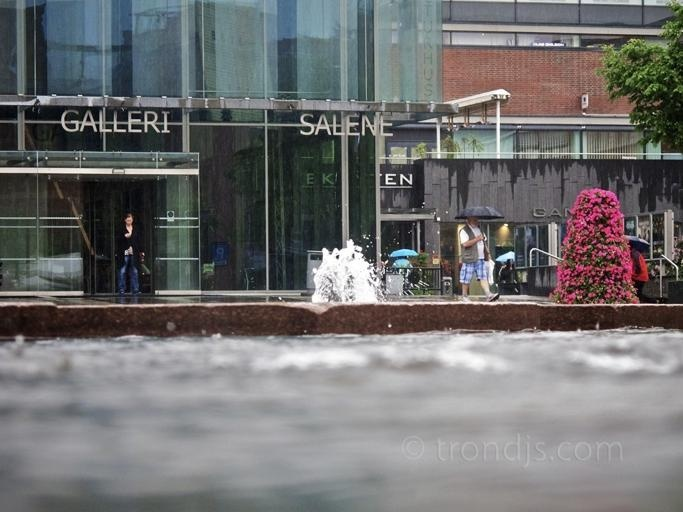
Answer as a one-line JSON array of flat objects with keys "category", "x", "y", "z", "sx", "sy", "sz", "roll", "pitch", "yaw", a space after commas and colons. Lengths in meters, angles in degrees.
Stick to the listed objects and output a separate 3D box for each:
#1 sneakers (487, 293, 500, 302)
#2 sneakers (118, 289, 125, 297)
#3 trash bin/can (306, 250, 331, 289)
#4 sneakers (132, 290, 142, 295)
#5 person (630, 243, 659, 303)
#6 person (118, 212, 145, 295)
[{"category": "sneakers", "x": 3.228, "y": 0.850, "z": 27.680, "sx": 0.144, "sy": 0.126, "sz": 0.314, "roll": 28, "pitch": -33, "yaw": -16}, {"category": "sneakers", "x": -5.403, "y": 0.876, "z": 32.413, "sx": 0.154, "sy": 0.155, "sz": 0.287, "roll": 4, "pitch": 6, "yaw": 1}, {"category": "trash bin/can", "x": -0.705, "y": 0.298, "z": 34.993, "sx": 0.815, "sy": 1.382, "sz": 0.821, "roll": 0, "pitch": -2, "yaw": 3}, {"category": "sneakers", "x": -5.037, "y": 0.874, "z": 32.439, "sx": 0.171, "sy": 0.117, "sz": 0.159, "roll": 0, "pitch": -4, "yaw": -31}, {"category": "person", "x": 6.277, "y": 0.318, "z": 27.151, "sx": 0.414, "sy": 1.205, "sz": 1.066, "roll": -2, "pitch": 0, "yaw": 13}, {"category": "person", "x": -5.215, "y": -0.095, "z": 32.542, "sx": 0.639, "sy": 2.035, "sz": 0.410, "roll": -2, "pitch": 0, "yaw": -23}]
